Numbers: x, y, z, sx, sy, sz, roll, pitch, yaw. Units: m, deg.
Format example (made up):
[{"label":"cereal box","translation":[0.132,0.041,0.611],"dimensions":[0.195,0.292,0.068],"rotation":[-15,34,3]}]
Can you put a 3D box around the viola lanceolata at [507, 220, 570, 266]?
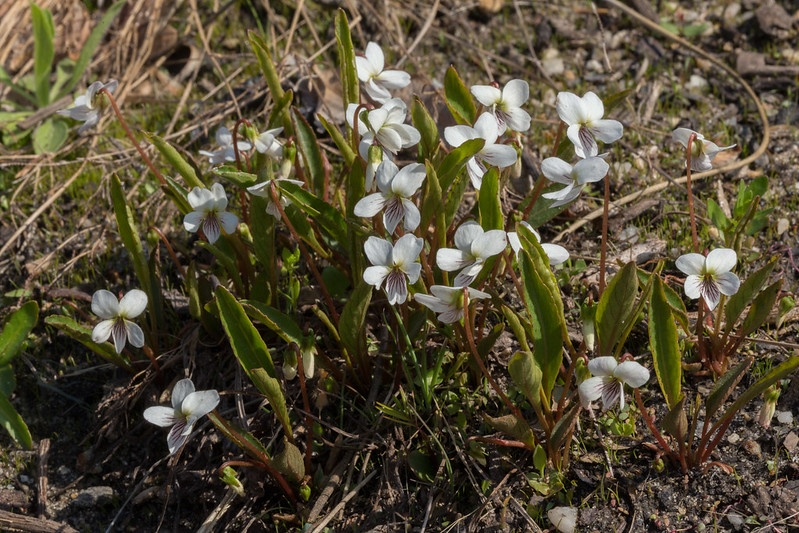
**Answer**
[{"label":"viola lanceolata","translation":[0.739,-0.122,3.983],"dimensions":[0.322,0.123,0.100],"rotation":[34,-16,-10]}]

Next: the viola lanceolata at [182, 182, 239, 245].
[{"label":"viola lanceolata","translation":[-0.995,-0.297,3.927],"dimensions":[0.170,0.225,0.071],"rotation":[10,61,16]}]

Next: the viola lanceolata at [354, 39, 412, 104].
[{"label":"viola lanceolata","translation":[-0.095,-1.019,4.025],"dimensions":[0.230,0.239,0.355],"rotation":[-5,37,-45]}]
